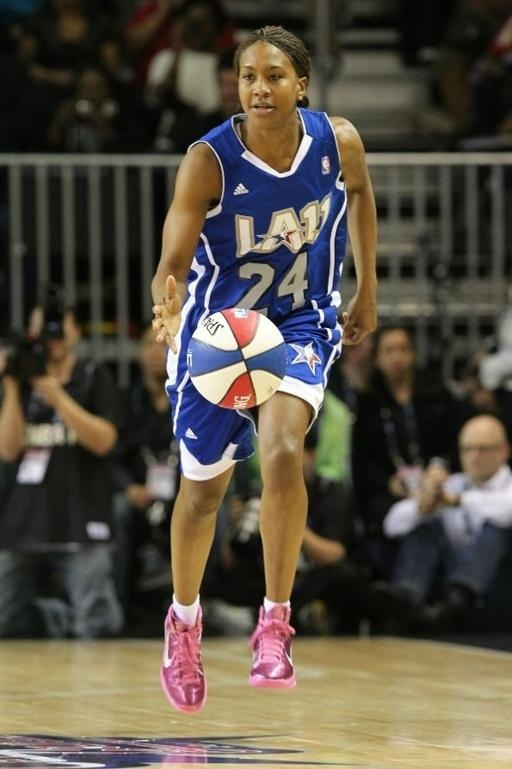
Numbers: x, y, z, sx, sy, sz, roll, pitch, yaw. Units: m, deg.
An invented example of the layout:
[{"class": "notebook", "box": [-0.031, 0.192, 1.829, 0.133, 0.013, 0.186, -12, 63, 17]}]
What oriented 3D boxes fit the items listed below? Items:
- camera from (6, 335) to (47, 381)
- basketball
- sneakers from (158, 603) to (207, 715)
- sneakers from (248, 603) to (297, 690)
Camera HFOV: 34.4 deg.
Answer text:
[{"class": "camera", "box": [-1.175, -0.124, 4.244, 0.207, 0.220, 0.082, 1, 7, -11]}, {"class": "basketball", "box": [-0.008, -0.077, 2.048, 0.244, 0.268, 0.243, 9, 33, 10]}, {"class": "sneakers", "box": [-0.224, 0.806, 2.513, 0.122, 0.144, 0.336, -1, 49, -12]}, {"class": "sneakers", "box": [0.047, 0.681, 2.170, 0.111, 0.152, 0.261, 1, -6, 1]}]
